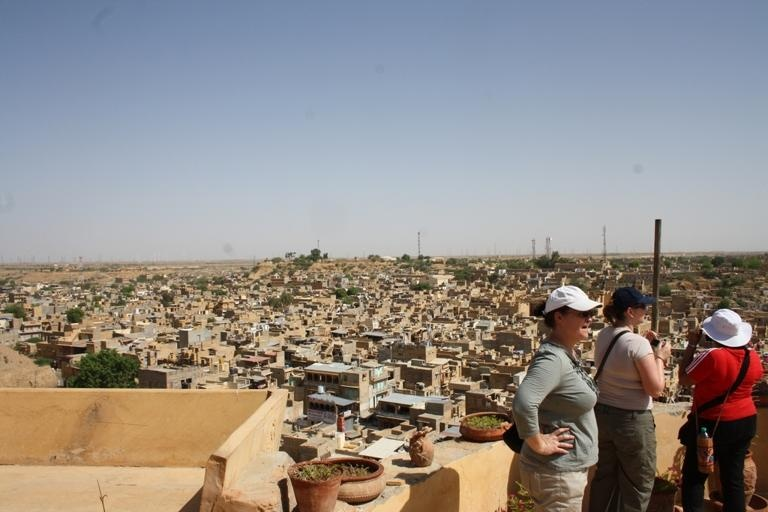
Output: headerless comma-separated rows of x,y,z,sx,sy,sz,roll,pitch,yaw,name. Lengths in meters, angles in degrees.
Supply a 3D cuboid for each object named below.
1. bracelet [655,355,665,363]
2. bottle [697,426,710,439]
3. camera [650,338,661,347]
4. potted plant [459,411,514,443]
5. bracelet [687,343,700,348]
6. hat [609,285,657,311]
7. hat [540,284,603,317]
1.249,0.467,2.429,0.031,0.017,0.026,-2,4,-10,bracelet
1.535,0.844,2.581,0.054,0.041,0.051,-4,1,0,bottle
1.326,0.424,2.631,0.035,0.034,0.055,-1,-8,7,camera
0.566,0.965,3.054,0.306,0.083,0.277,1,-1,-30,potted plant
1.606,0.460,2.780,0.041,0.022,0.035,0,-3,1,bracelet
1.155,0.190,2.489,0.180,0.068,0.099,-4,4,-5,hat
0.794,0.177,2.244,0.209,0.068,0.120,-3,2,19,hat
